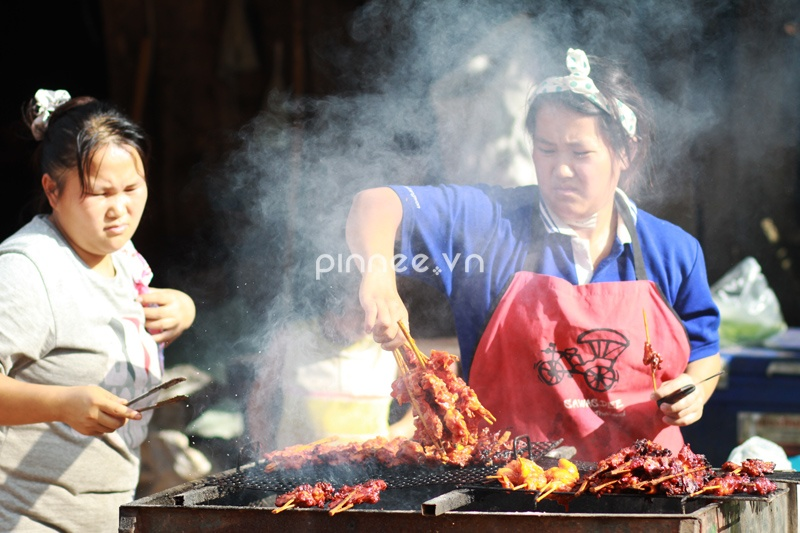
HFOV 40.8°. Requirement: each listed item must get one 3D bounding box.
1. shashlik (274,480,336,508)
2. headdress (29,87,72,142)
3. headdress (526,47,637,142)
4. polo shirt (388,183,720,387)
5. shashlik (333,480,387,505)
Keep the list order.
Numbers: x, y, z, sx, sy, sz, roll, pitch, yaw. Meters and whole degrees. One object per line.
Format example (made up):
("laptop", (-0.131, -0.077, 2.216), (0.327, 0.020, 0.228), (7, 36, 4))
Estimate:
("shashlik", (-0.533, 1.302, 6.092), (0.232, 0.065, 0.146), (-13, 14, -26))
("headdress", (-2.118, -0.923, 6.474), (0.291, 0.292, 0.111), (12, -8, -18))
("headdress", (1.201, -1.099, 6.784), (0.472, 0.632, 0.350), (-4, -1, 14))
("polo shirt", (0.983, 0.124, 6.950), (1.402, 0.951, 0.423), (0, -3, -1))
("shashlik", (-0.227, 1.290, 6.142), (0.226, 0.048, 0.136), (-5, 26, -12))
